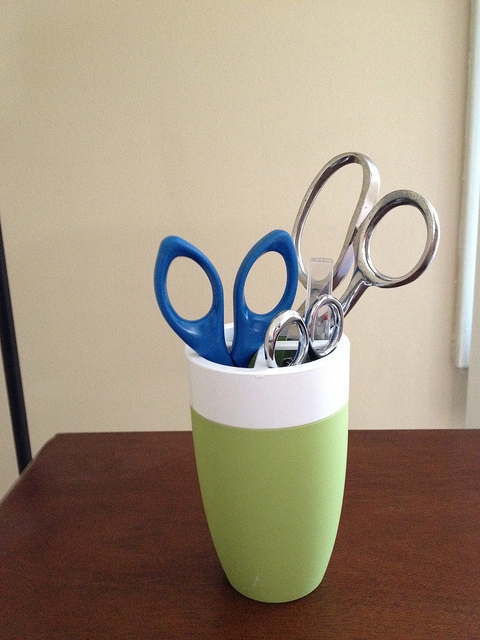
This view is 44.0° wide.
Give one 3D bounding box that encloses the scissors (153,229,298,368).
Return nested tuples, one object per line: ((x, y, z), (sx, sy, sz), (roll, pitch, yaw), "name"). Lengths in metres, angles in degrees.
((-0.015, -0.043, 0.711), (0.168, 0.244, 0.025), (-7, 6, -39), "scissors")

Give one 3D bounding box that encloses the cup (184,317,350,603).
((0.021, 0.095, 0.407), (0.094, 0.238, 0.121), (-3, 12, -3), "cup")

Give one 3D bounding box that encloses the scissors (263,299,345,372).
((0.048, 0.014, 0.417), (0.056, 0.010, 0.049), (-20, 64, 19), "scissors")
